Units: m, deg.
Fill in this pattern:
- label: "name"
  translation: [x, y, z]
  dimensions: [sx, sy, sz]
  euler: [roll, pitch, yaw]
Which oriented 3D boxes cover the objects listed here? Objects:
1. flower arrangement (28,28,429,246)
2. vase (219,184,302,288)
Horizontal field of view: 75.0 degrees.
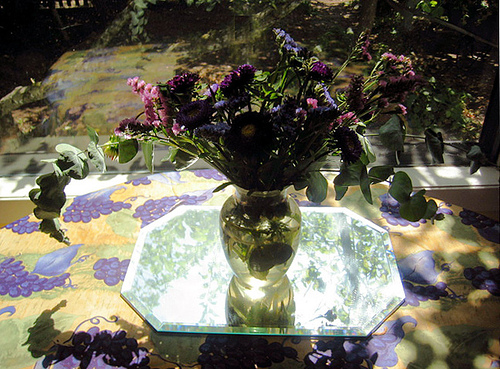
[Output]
- label: "flower arrangement"
  translation: [-0.101, -0.089, 0.758]
  dimensions: [0.833, 0.385, 0.434]
  euler: [-9, 18, 13]
- label: "vase"
  translation: [0.028, 0.128, 0.824]
  dimensions: [0.193, 0.251, 0.192]
  euler: [-7, 15, -27]
